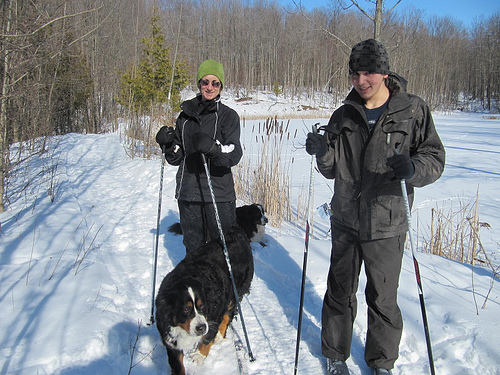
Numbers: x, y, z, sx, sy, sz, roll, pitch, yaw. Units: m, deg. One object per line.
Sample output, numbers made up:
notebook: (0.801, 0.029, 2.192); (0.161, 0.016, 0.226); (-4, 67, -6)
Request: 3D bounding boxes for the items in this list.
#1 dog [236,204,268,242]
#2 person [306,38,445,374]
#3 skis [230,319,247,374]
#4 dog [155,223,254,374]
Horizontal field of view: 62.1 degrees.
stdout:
dog: (0.030, 0.484, 6.006); (0.311, 0.498, 0.462); (-6, -25, 7)
person: (1.295, 0.265, 4.501); (1.247, 3.588, 0.739); (6, 13, 25)
skis: (-0.142, 1.927, 5.085); (0.084, 0.134, 0.894); (-6, 25, -4)
dog: (-0.541, 1.329, 5.072); (0.673, 1.307, 1.327); (7, 14, 26)
